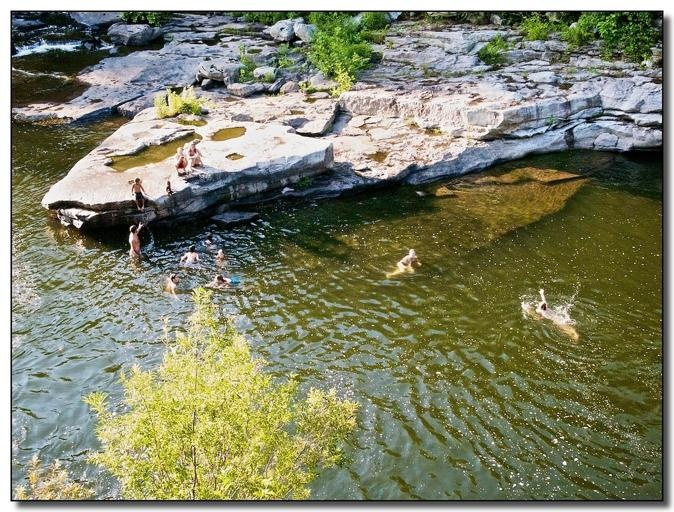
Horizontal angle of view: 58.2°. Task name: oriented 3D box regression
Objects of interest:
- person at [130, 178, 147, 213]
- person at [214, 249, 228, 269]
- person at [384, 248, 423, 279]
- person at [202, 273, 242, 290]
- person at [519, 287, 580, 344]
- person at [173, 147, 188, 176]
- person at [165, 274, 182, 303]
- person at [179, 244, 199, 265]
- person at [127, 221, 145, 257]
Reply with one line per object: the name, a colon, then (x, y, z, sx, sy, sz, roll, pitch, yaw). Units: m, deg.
person: (-7.543, -2.381, 22.878, 0.379, 1.340, 0.584, 14, 30, 29)
person: (-4.310, 0.173, 22.121, 0.580, 0.297, 0.960, -5, 49, 3)
person: (2.367, 0.171, 21.435, 1.561, 0.828, 0.723, -15, 28, -26)
person: (-4.094, 0.825, 21.070, 1.239, 0.408, 0.490, -6, 25, -10)
person: (6.897, 1.934, 19.591, 2.097, 1.008, 0.928, 36, 74, 15)
person: (-6.261, -3.731, 23.969, 0.514, 0.919, 0.811, -8, 26, -13)
person: (-5.710, 1.129, 20.800, 0.246, 0.701, 0.694, -12, 41, -35)
person: (-5.498, -0.058, 22.115, 0.747, 0.326, 0.251, -19, 34, -12)
person: (-7.652, -0.757, 22.615, 0.601, 1.152, 1.453, -9, 26, -14)
